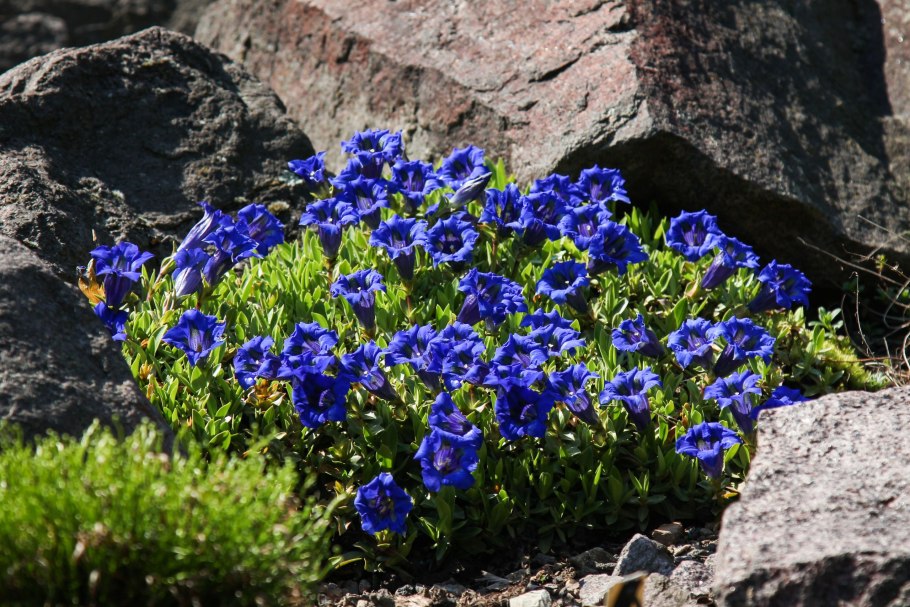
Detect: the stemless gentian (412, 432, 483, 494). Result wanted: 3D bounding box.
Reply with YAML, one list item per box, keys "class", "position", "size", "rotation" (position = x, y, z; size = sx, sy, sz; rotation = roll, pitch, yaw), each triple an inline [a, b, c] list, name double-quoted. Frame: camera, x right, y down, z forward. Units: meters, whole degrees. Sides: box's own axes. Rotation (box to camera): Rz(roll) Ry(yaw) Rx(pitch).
- class: "stemless gentian"
  position: [-0.050, 0.953, 10.246]
  size: [0.364, 0.403, 0.241]
  rotation: [-14, 8, -3]

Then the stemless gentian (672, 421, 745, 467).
- class: "stemless gentian"
  position: [1.515, 0.860, 10.362]
  size: [0.266, 0.117, 0.269]
  rotation: [-17, 19, -14]

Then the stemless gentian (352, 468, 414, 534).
- class: "stemless gentian"
  position: [-0.438, 1.208, 10.166]
  size: [0.338, 0.357, 0.180]
  rotation: [26, 13, -12]
